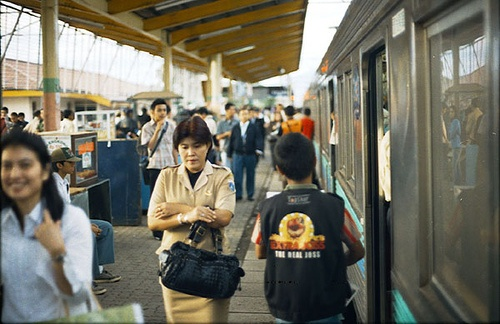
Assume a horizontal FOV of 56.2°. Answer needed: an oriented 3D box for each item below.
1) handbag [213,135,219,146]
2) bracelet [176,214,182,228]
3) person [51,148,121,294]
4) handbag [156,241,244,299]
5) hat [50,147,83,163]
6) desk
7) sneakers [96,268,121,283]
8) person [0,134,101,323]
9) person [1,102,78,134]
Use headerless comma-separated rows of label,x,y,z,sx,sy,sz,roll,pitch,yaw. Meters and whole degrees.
handbag,-0.879,-0.560,12.046,0.173,0.332,0.186,-2,40,-1
bracelet,-0.572,0.472,3.842,0.056,0.107,0.063,3,6,3
person,-2.175,0.709,5.985,0.946,1.818,0.619,2,10,-15
handbag,-0.380,0.896,3.787,0.706,0.443,0.289,14,-25,-11
hat,-2.255,-0.101,5.816,0.415,0.234,0.273,-4,6,-16
desk,-2.197,0.545,6.503,0.728,0.728,0.307,2,-4,-6
sneakers,-1.931,1.567,6.444,0.338,0.167,0.129,0,0,-4
person,-1.146,0.389,2.675,0.589,1.122,0.292,2,5,-11
person,-5.066,-1.066,11.177,2.085,0.710,0.866,0,15,30
